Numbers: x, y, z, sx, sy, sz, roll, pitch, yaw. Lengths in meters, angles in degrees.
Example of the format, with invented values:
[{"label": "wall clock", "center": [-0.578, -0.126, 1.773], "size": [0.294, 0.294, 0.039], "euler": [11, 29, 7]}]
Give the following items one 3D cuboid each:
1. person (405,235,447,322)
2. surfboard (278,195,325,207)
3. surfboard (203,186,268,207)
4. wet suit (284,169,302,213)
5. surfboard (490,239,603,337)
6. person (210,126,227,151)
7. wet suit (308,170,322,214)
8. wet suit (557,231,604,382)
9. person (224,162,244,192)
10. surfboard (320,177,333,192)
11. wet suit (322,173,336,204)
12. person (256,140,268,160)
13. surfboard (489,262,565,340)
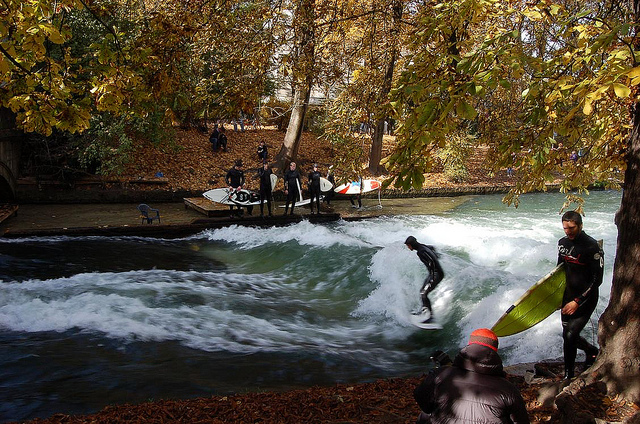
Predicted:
[{"label": "person", "center": [2.677, 1.545, 12.379], "size": [0.913, 2.014, 1.554], "euler": [7, 11, 17]}, {"label": "surfboard", "center": [-0.772, -0.470, 22.057], "size": [1.511, 0.161, 0.208], "euler": [-19, 17, -17]}, {"label": "surfboard", "center": [-3.503, -0.616, 20.160], "size": [2.628, 0.702, 0.596], "euler": [8, 15, -6]}, {"label": "wet suit", "center": [-1.179, -0.839, 20.201], "size": [0.566, 1.860, 1.208], "euler": [3, 11, -2]}, {"label": "surfboard", "center": [3.860, 1.560, 8.572], "size": [3.793, 0.438, 0.619], "euler": [-8, 51, -50]}, {"label": "person", "center": [-5.979, -4.224, 28.578], "size": [0.985, 1.291, 0.657], "euler": [-3, 13, -31]}, {"label": "wet suit", "center": [-0.228, -0.818, 21.179], "size": [0.570, 1.853, 1.445], "euler": [3, 11, -3]}, {"label": "wet suit", "center": [4.156, 1.515, 7.930], "size": [0.597, 2.361, 0.729], "euler": [4, 11, 2]}, {"label": "person", "center": [-3.333, -1.405, 19.067], "size": [0.605, 1.132, 1.238], "euler": [2, 10, -9]}, {"label": "surfboard", "center": [0.284, -1.280, 22.866], "size": [0.677, 0.560, 0.093], "euler": [20, 10, 23]}, {"label": "wet suit", "center": [0.403, -1.134, 22.669], "size": [0.446, 1.473, 0.386], "euler": [22, 15, 39]}, {"label": "person", "center": [-3.363, -3.559, 28.358], "size": [0.541, 1.051, 0.878], "euler": [1, 11, -11]}, {"label": "surfboard", "center": [4.066, 1.811, 9.717], "size": [1.467, 1.433, 0.341], "euler": [2, 54, -54]}]
